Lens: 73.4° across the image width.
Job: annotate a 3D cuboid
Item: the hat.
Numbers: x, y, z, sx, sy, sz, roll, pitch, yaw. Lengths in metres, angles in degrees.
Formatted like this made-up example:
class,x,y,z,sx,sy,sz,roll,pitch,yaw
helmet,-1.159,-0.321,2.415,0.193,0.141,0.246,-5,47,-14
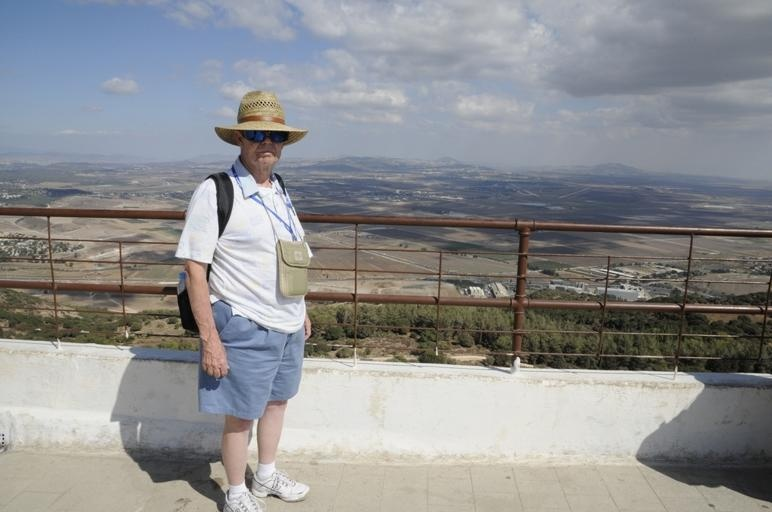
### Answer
class,x,y,z,sx,sy,sz,roll,pitch,yaw
hat,-0.716,-0.850,3.039,0.544,0.206,0.499,-10,22,-29

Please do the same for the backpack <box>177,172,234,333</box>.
class,x,y,z,sx,sy,sz,roll,pitch,yaw
backpack,-1.032,-0.012,2.944,0.177,0.919,0.382,12,-7,-23
